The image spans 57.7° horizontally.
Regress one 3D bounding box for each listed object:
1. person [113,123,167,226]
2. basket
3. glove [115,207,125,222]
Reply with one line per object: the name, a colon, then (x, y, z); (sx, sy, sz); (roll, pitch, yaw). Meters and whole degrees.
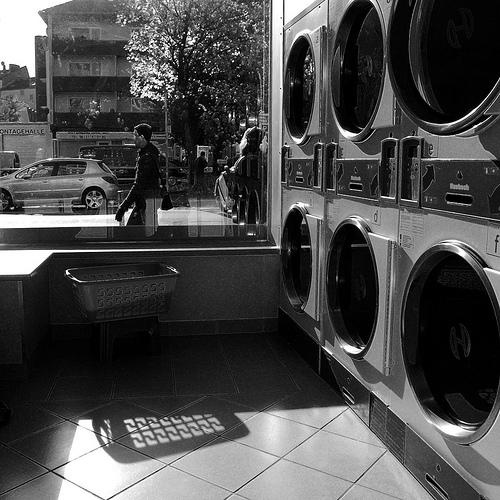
person: (-0.797, -0.580, 3.234); (0.194, 0.964, 0.388); (8, 14, 10)
basket: (-0.801, 0.266, 2.838); (0.655, 0.327, 0.454); (-2, 6, -27)
glove: (-0.937, -0.257, 3.259); (0.046, 0.106, 0.022); (13, 6, -28)
